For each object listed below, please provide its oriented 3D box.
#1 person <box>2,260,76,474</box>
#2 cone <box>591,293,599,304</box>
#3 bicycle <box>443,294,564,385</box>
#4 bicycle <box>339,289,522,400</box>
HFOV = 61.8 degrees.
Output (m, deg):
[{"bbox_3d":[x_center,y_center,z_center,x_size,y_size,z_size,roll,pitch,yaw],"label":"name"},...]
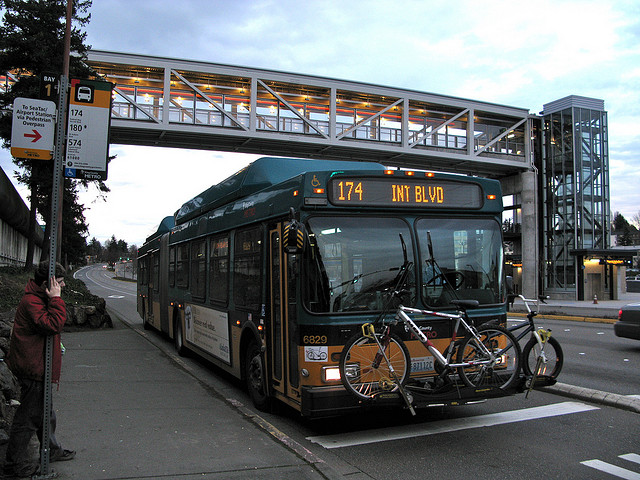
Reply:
[{"bbox_3d":[-3.255,1.463,6.176,0.735,2.446,0.569,0,2,-25],"label":"person"},{"bbox_3d":[21.392,4.556,41.629,0.639,0.923,0.659,1,-7,-12],"label":"cone"},{"bbox_3d":[3.078,1.554,8.367,1.126,1.208,1.864,4,-10,-19],"label":"bicycle"},{"bbox_3d":[1.554,1.477,7.410,2.642,1.273,0.468,0,1,-15],"label":"bicycle"}]
